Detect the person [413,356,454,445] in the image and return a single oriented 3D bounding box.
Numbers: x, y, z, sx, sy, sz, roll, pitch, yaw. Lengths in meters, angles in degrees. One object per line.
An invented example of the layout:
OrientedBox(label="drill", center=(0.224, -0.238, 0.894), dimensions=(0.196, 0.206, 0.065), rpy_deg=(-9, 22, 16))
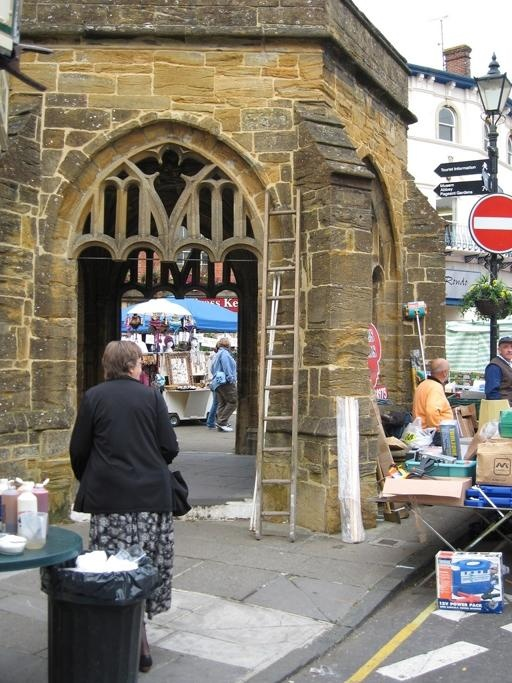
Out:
OrientedBox(label="person", center=(1.667, 0.578, 7.209), dimensions=(0.369, 0.810, 0.762), rpy_deg=(2, 0, 13))

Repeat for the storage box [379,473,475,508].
OrientedBox(label="storage box", center=(1.175, 1.017, 5.216), dimensions=(0.605, 0.156, 0.572), rpy_deg=(0, -9, 15))

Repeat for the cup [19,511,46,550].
OrientedBox(label="cup", center=(-0.915, 0.786, 3.147), dimensions=(0.148, 0.130, 0.113), rpy_deg=(-1, -1, 22))

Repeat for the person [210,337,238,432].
OrientedBox(label="person", center=(-0.619, 0.849, 14.299), dimensions=(0.474, 1.760, 1.493), rpy_deg=(2, 0, -3))

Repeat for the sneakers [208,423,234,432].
OrientedBox(label="sneakers", center=(-0.695, 1.702, 14.929), dimensions=(0.513, 0.201, 0.166), rpy_deg=(0, 5, 24))

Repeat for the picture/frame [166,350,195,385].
OrientedBox(label="picture/frame", center=(-1.581, 0.556, 15.591), dimensions=(0.064, 0.674, 0.690), rpy_deg=(-7, 4, 27))

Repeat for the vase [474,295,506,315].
OrientedBox(label="vase", center=(2.781, -0.434, 9.074), dimensions=(0.449, 0.244, 0.422), rpy_deg=(-2, 4, -16))

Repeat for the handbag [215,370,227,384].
OrientedBox(label="handbag", center=(-0.649, 0.672, 13.764), dimensions=(0.193, 0.251, 0.199), rpy_deg=(2, 0, -34))

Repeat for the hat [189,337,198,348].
OrientedBox(label="hat", center=(-1.469, 0.039, 18.041), dimensions=(0.174, 0.208, 0.229), rpy_deg=(-4, -8, -2))
